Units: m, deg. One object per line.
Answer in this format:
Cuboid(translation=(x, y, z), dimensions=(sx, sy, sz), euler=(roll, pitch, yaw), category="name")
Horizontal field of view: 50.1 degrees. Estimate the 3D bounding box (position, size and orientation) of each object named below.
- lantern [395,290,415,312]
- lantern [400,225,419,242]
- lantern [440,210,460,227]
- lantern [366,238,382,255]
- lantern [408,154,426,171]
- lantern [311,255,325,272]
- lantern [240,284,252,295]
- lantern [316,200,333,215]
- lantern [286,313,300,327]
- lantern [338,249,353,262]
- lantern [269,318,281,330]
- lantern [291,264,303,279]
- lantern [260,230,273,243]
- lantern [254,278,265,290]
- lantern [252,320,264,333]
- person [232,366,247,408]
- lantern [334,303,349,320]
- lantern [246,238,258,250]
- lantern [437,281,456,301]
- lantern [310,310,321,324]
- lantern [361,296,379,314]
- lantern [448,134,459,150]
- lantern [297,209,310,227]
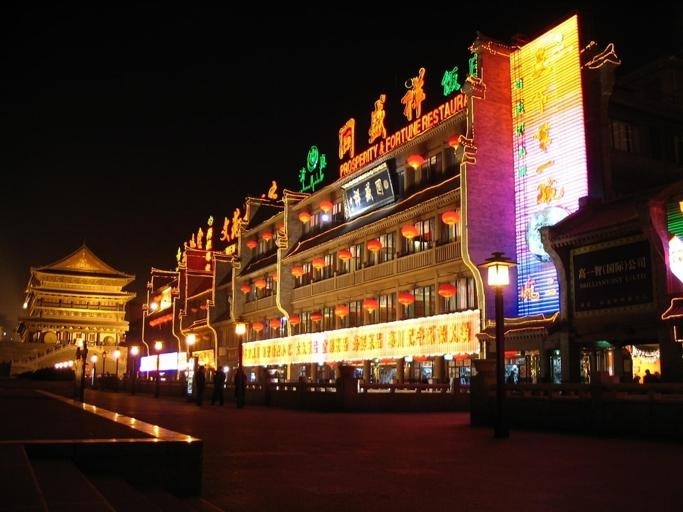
Cuboid(translation=(2.945, 1.956, 32.944), dimensions=(0.714, 0.756, 0.714), euler=(7, -13, -23), category="lantern")
Cuboid(translation=(2.931, -1.059, 31.855), dimensions=(0.663, 0.701, 0.682), euler=(-4, -9, 16), category="lantern")
Cuboid(translation=(4.443, -1.594, 30.173), dimensions=(0.622, 0.651, 0.637), euler=(-3, -8, 14), category="lantern")
Cuboid(translation=(1.520, -0.521, 34.775), dimensions=(0.602, 0.615, 0.617), euler=(-4, -11, 20), category="lantern")
Cuboid(translation=(3.346, -4.399, 33.541), dimensions=(0.718, 0.710, 0.736), euler=(-4, -10, 21), category="lantern")
Cuboid(translation=(-1.284, 0.355, 40.219), dimensions=(0.754, 0.829, 0.770), euler=(-1, -15, 0), category="lantern")
Cuboid(translation=(-6.648, 2.186, 50.570), dimensions=(0.658, 0.703, 0.670), euler=(-13, -21, 38), category="lantern")
Cuboid(translation=(-0.939, -3.073, 41.886), dimensions=(0.755, 0.735, 0.753), euler=(4, -12, -5), category="lantern")
Cuboid(translation=(-2.771, 3.796, 43.542), dimensions=(0.643, 0.697, 0.657), euler=(-10, -14, 41), category="lantern")
Cuboid(translation=(0.171, -0.082, 37.262), dimensions=(0.552, 0.659, 0.606), euler=(-8, -14, 26), category="lantern")
Cuboid(translation=(-4.137, 4.193, 45.579), dimensions=(0.760, 0.641, 0.765), euler=(4, -10, -14), category="lantern")
Cuboid(translation=(-2.661, 0.834, 44.561), dimensions=(0.737, 0.798, 0.756), euler=(-11, -19, 33), category="lantern")
Cuboid(translation=(-5.093, -1.424, 50.491), dimensions=(0.747, 0.649, 0.743), euler=(7, -11, -27), category="lantern")
Cuboid(translation=(-5.127, 1.740, 47.399), dimensions=(0.706, 0.846, 0.741), euler=(1, -9, -36), category="lantern")
Cuboid(translation=(-5.556, 4.686, 48.999), dimensions=(0.865, 0.971, 0.854), euler=(9, -15, -37), category="lantern")
Cuboid(translation=(-4.115, 5.277, 29.643), dimensions=(0.389, 1.812, 1.526), euler=(2, -16, -9), category="person")
Cuboid(translation=(-0.038, 2.846, 37.825), dimensions=(0.765, 0.871, 0.779), euler=(3, -11, -2), category="lantern")
Cuboid(translation=(-6.394, -0.937, 52.207), dimensions=(0.628, 0.691, 0.678), euler=(-1, -6, -11), category="lantern")
Cuboid(translation=(4.362, 1.434, 30.233), dimensions=(0.683, 0.631, 0.690), euler=(5, -8, -11), category="lantern")
Cuboid(translation=(-1.444, 3.344, 40.546), dimensions=(0.582, 0.534, 0.593), euler=(-10, -11, 40), category="lantern")
Cuboid(translation=(1.463, 2.324, 35.356), dimensions=(0.642, 0.655, 0.626), euler=(5, -9, -24), category="lantern")
Cuboid(translation=(4.686, -4.848, 30.685), dimensions=(0.312, 0.767, 0.726), euler=(-1, -16, -1), category="lantern")
Cuboid(translation=(-2.300, -2.406, 43.647), dimensions=(0.804, 0.770, 0.818), euler=(2, -8, -1), category="lantern")
